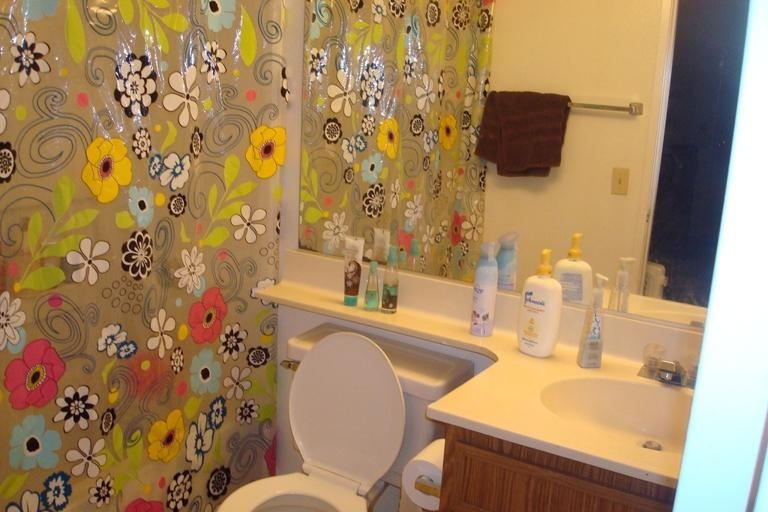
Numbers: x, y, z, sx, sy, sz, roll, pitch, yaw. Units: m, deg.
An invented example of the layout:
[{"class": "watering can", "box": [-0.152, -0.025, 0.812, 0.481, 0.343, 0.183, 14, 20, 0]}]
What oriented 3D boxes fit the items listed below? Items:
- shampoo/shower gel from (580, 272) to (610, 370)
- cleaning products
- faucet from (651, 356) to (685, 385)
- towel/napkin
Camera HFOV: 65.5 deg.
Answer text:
[{"class": "shampoo/shower gel", "box": [0.598, 0.205, 1.709, 0.071, 0.225, 0.050, 3, 8, 5]}, {"class": "cleaning products", "box": [0.459, 0.138, 1.757, 0.106, 0.311, 0.087, 2, 8, -3]}, {"class": "faucet", "box": [0.782, 0.315, 1.634, 0.087, 0.072, 0.048, 6, 10, 37]}, {"class": "towel/napkin", "box": [0.431, -0.373, 1.851, 0.246, 0.263, 0.090, 6, 9, 20]}]
